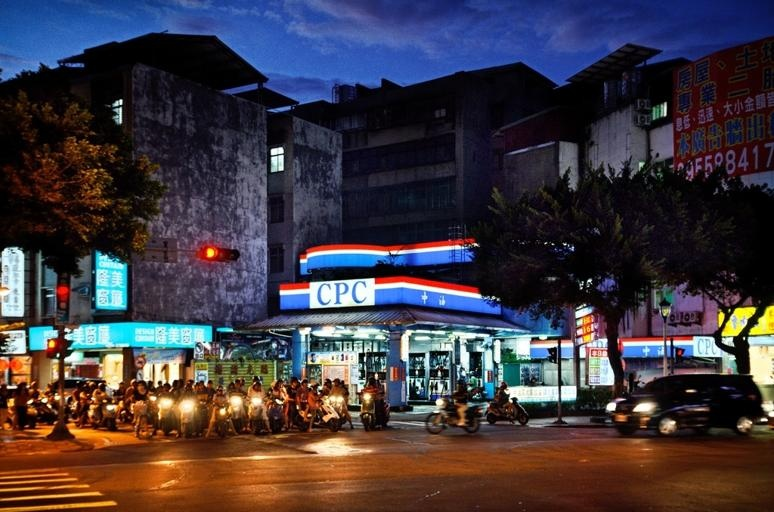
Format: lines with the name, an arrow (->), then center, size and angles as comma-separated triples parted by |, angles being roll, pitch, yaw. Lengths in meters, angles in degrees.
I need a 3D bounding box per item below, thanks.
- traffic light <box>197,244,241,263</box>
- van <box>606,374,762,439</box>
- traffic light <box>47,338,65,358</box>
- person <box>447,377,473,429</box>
traffic light -> -6.411, -0.111, 33.316 | 1.304, 0.499, 0.733 | 6, -13, -33
van -> 11.774, 5.833, 34.619 | 4.889, 1.967, 2.678 | 4, -13, -9
traffic light -> -13.158, 3.615, 34.487 | 0.821, 0.773, 0.586 | 6, -8, -39
person -> 3.062, 6.084, 35.922 | 0.648, 1.966, 0.761 | 5, -15, -27
